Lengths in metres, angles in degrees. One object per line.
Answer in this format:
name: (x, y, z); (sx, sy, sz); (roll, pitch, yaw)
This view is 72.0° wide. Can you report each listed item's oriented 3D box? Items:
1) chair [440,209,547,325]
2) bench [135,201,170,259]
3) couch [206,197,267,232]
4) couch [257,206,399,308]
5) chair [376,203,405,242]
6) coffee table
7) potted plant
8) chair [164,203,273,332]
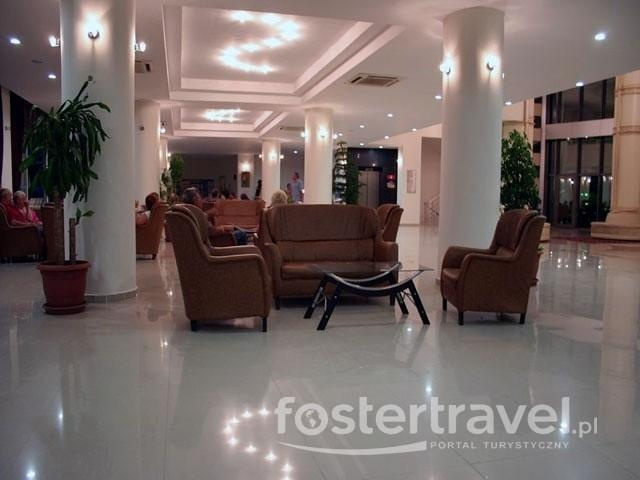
chair: (2.089, 0.317, 5.436); (1.169, 1.785, 1.209); (0, 1, 5)
bench: (-3.544, -0.191, 8.908); (0.883, 1.109, 0.780); (-2, -2, -21)
couch: (-2.085, -0.474, 11.124); (1.408, 1.128, 0.886); (-1, -1, -13)
couch: (0.126, 0.167, 5.822); (1.641, 1.331, 0.951); (-1, 1, -14)
chair: (1.173, -0.383, 7.644); (0.496, 0.578, 0.526); (14, -7, 21)
coffee table: (0.495, 0.570, 5.109); (1.398, 0.706, 1.186); (-1, 7, -7)
potted plant: (-3.134, -0.612, 5.485); (0.855, 2.737, 1.680); (-5, 8, -33)
chair: (-1.049, 0.228, 4.953); (1.159, 1.517, 1.030); (-1, 6, -15)
